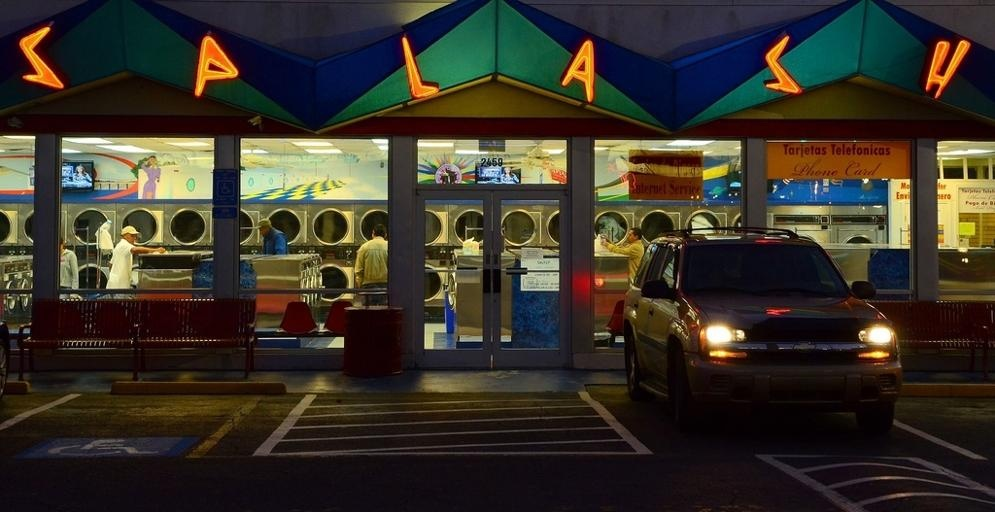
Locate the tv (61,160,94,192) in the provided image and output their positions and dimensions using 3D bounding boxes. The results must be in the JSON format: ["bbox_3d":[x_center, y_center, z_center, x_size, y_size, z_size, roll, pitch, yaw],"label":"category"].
[{"bbox_3d":[-9.531,-1.826,18.584,0.935,0.627,0.114,0,4,-18],"label":"tv"}]

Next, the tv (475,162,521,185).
[{"bbox_3d":[0.015,-1.857,18.444,1.046,0.494,0.169,0,11,-2],"label":"tv"}]

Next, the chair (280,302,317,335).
[{"bbox_3d":[-4.554,1.406,18.820,0.996,0.775,0.734,0,-4,-6],"label":"chair"}]

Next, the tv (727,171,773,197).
[{"bbox_3d":[5.854,-1.607,18.951,1.190,0.848,0.582,0,3,9],"label":"tv"}]

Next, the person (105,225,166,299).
[{"bbox_3d":[-8.612,0.175,19.240,1.378,1.805,0.893,-3,-1,25],"label":"person"}]

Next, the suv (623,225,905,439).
[{"bbox_3d":[4.270,1.252,15.777,3.504,2.062,4.789,0,-6,-4],"label":"suv"}]

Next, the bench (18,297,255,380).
[{"bbox_3d":[-7.569,1.461,17.466,4.660,1.006,0.515,0,11,-2],"label":"bench"}]
